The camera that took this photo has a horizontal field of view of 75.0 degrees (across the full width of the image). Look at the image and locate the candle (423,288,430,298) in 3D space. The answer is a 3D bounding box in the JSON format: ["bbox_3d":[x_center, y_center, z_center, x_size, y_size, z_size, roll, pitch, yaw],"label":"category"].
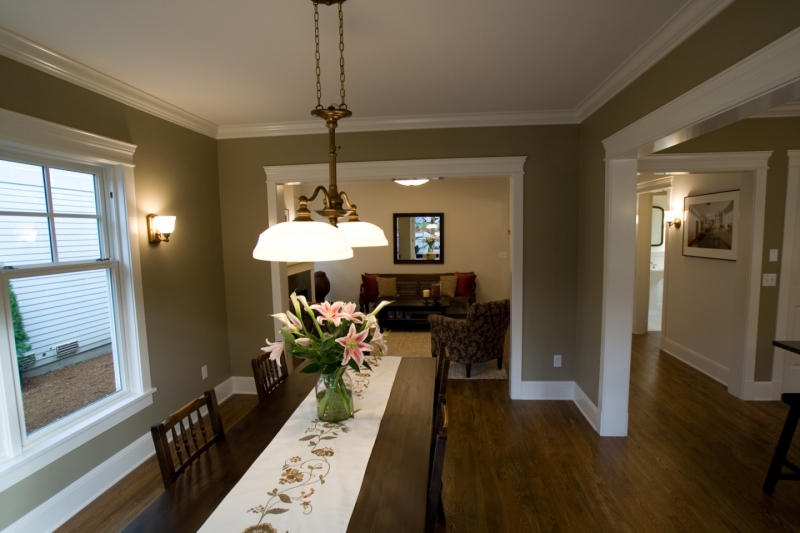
[{"bbox_3d":[0.421,0.416,8.027,0.111,0.130,0.113,1,-2,-12],"label":"candle"}]

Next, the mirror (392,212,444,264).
[{"bbox_3d":[0.355,-0.548,9.242,0.869,0.875,0.086,0,4,3],"label":"mirror"}]

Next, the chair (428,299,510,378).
[{"bbox_3d":[0.842,0.851,6.243,0.950,0.912,0.439,-2,5,1],"label":"chair"}]

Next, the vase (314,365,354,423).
[{"bbox_3d":[-0.484,0.920,3.866,0.367,0.574,0.341,0,-5,-6],"label":"vase"}]

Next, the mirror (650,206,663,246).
[{"bbox_3d":[4.802,-0.704,9.699,0.164,0.718,0.347,0,6,21],"label":"mirror"}]

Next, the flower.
[{"bbox_3d":[-0.438,0.590,4.016,0.934,0.957,0.891,-2,1,13],"label":"flower"}]

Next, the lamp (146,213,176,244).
[{"bbox_3d":[-2.224,-0.356,4.945,0.161,0.287,0.289,1,6,26],"label":"lamp"}]

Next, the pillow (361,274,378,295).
[{"bbox_3d":[-0.525,0.317,9.035,0.306,0.382,0.143,-7,-2,5],"label":"pillow"}]

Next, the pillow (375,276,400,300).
[{"bbox_3d":[-0.229,0.376,8.981,0.321,0.368,0.142,-5,-17,-4],"label":"pillow"}]
